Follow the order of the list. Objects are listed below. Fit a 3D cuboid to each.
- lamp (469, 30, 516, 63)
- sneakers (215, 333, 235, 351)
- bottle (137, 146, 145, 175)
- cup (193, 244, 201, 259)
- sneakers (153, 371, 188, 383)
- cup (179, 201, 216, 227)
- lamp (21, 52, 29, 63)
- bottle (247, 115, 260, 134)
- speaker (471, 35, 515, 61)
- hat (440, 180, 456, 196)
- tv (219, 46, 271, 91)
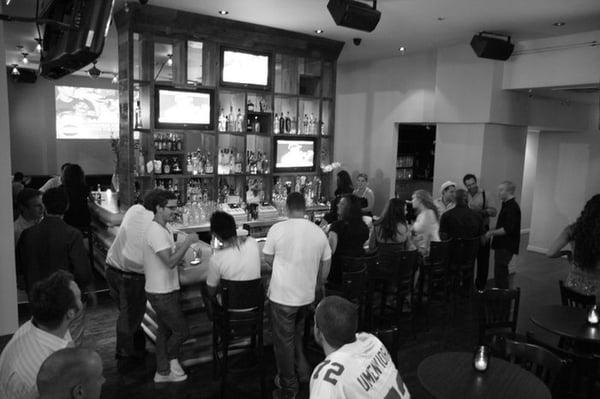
[{"bbox_3d":[3.198,-2.522,7.944,0.695,0.447,0.428,-6,16,-31],"label":"lamp"},{"bbox_3d":[-0.885,1.670,5.601,0.106,0.163,0.558,26,-19,2],"label":"sneakers"},{"bbox_3d":[-2.525,-0.588,7.644,0.124,0.383,0.313,1,6,-19],"label":"bottle"},{"bbox_3d":[-1.326,0.682,6.147,0.109,0.214,0.111,1,13,0],"label":"cup"},{"bbox_3d":[-1.557,2.093,5.734,0.363,0.155,0.138,1,5,-10],"label":"sneakers"},{"bbox_3d":[-1.666,0.187,7.779,0.384,0.192,0.555,-1,11,-2],"label":"cup"},{"bbox_3d":[-6.255,-3.249,10.894,0.168,0.187,0.173,0,7,-11],"label":"lamp"},{"bbox_3d":[-0.833,-1.344,8.538,0.313,0.334,0.204,-8,16,-32],"label":"bottle"},{"bbox_3d":[3.187,-2.514,7.932,0.662,0.430,0.425,-1,19,-27],"label":"speaker"},{"bbox_3d":[2.631,-0.199,8.605,0.217,0.115,0.305,-15,-5,4],"label":"hat"},{"bbox_3d":[-0.975,-2.235,8.148,0.792,0.572,0.059,0,6,-28],"label":"tv"}]
